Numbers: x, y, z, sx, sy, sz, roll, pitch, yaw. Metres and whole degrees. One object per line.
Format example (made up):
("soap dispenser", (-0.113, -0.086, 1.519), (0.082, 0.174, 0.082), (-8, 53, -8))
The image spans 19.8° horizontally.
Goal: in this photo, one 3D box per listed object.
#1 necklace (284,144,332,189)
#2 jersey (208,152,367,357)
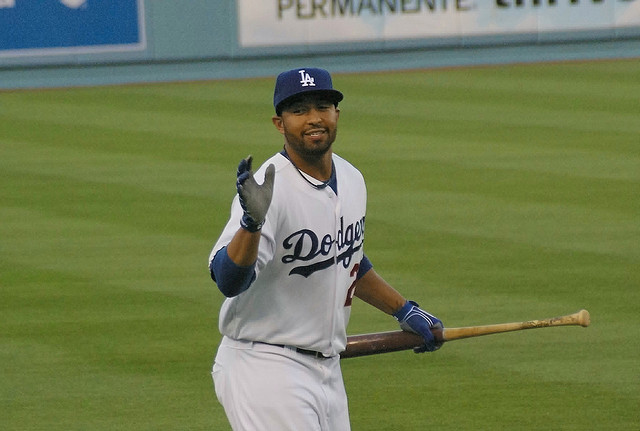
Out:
("necklace", (-0.130, -0.483, 20.773), (0.392, 0.514, 0.127), (-38, -9, -28))
("jersey", (-0.211, 0.487, 20.698), (1.646, 2.275, 0.473), (-2, 6, -20))
